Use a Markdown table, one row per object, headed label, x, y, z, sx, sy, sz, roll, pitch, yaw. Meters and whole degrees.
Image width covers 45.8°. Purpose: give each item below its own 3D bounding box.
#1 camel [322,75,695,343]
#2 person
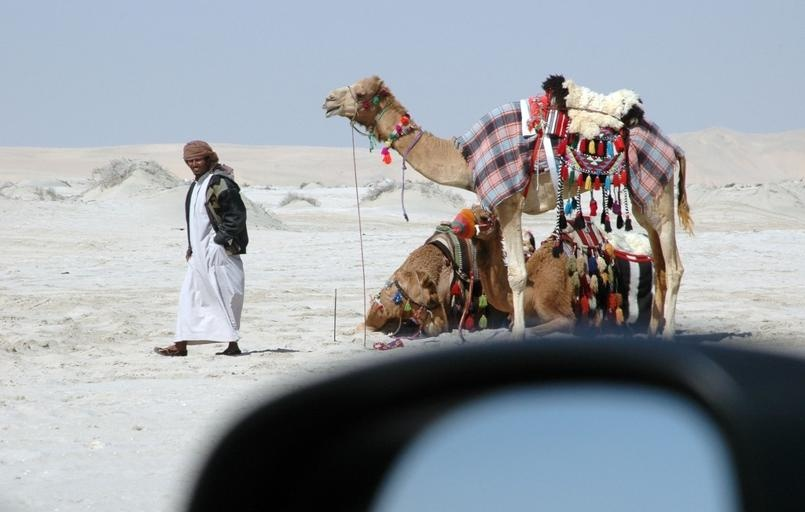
| label | x | y | z | sx | sy | sz | roll | pitch | yaw |
| --- | --- | --- | --- | --- | --- | --- | --- | --- | --- |
| camel | 2.926 | -0.926 | 11.358 | 2.961 | 3.416 | 7.436 | -2 | 0 | 4 |
| person | -2.198 | -0.146 | 10.832 | 1.260 | 2.213 | 0.939 | 0 | 2 | -5 |
